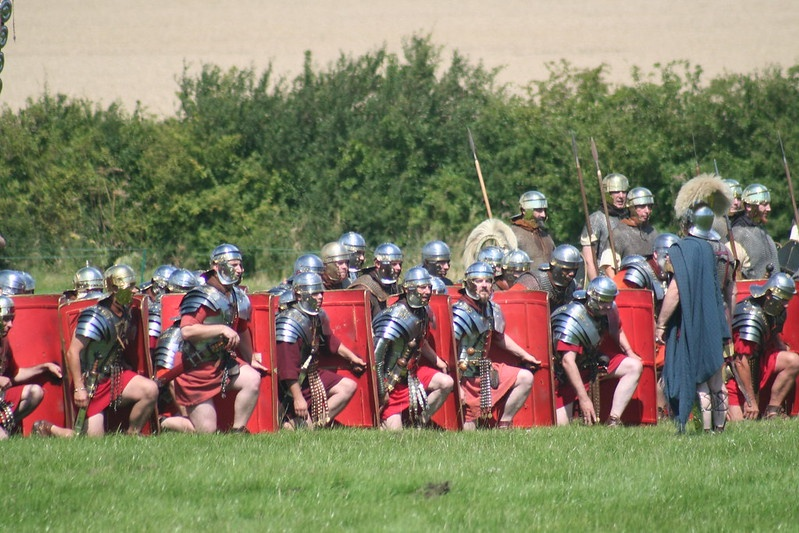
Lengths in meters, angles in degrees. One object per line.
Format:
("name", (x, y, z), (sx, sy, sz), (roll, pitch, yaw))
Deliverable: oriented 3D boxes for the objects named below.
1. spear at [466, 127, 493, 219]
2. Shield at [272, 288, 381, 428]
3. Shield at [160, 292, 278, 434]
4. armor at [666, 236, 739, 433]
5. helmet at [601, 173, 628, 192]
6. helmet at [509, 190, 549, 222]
("spear", (2.427, -2.822, 57.045), (0.272, 3.678, 0.169), (-11, 9, 7))
("Shield", (-1.502, 1.920, 39.450), (2.963, 3.784, 0.548), (0, 2, 5))
("Shield", (-3.650, 1.959, 39.120), (2.897, 3.680, 0.719), (-1, -6, -2))
("armor", (6.069, 1.337, 39.168), (1.652, 4.030, 0.892), (4, 0, -37))
("helmet", (4.825, -1.957, 42.801), (0.439, 0.351, 0.455), (-2, 6, -43))
("helmet", (2.922, -1.470, 43.009), (0.598, 0.558, 0.759), (3, -5, -43))
